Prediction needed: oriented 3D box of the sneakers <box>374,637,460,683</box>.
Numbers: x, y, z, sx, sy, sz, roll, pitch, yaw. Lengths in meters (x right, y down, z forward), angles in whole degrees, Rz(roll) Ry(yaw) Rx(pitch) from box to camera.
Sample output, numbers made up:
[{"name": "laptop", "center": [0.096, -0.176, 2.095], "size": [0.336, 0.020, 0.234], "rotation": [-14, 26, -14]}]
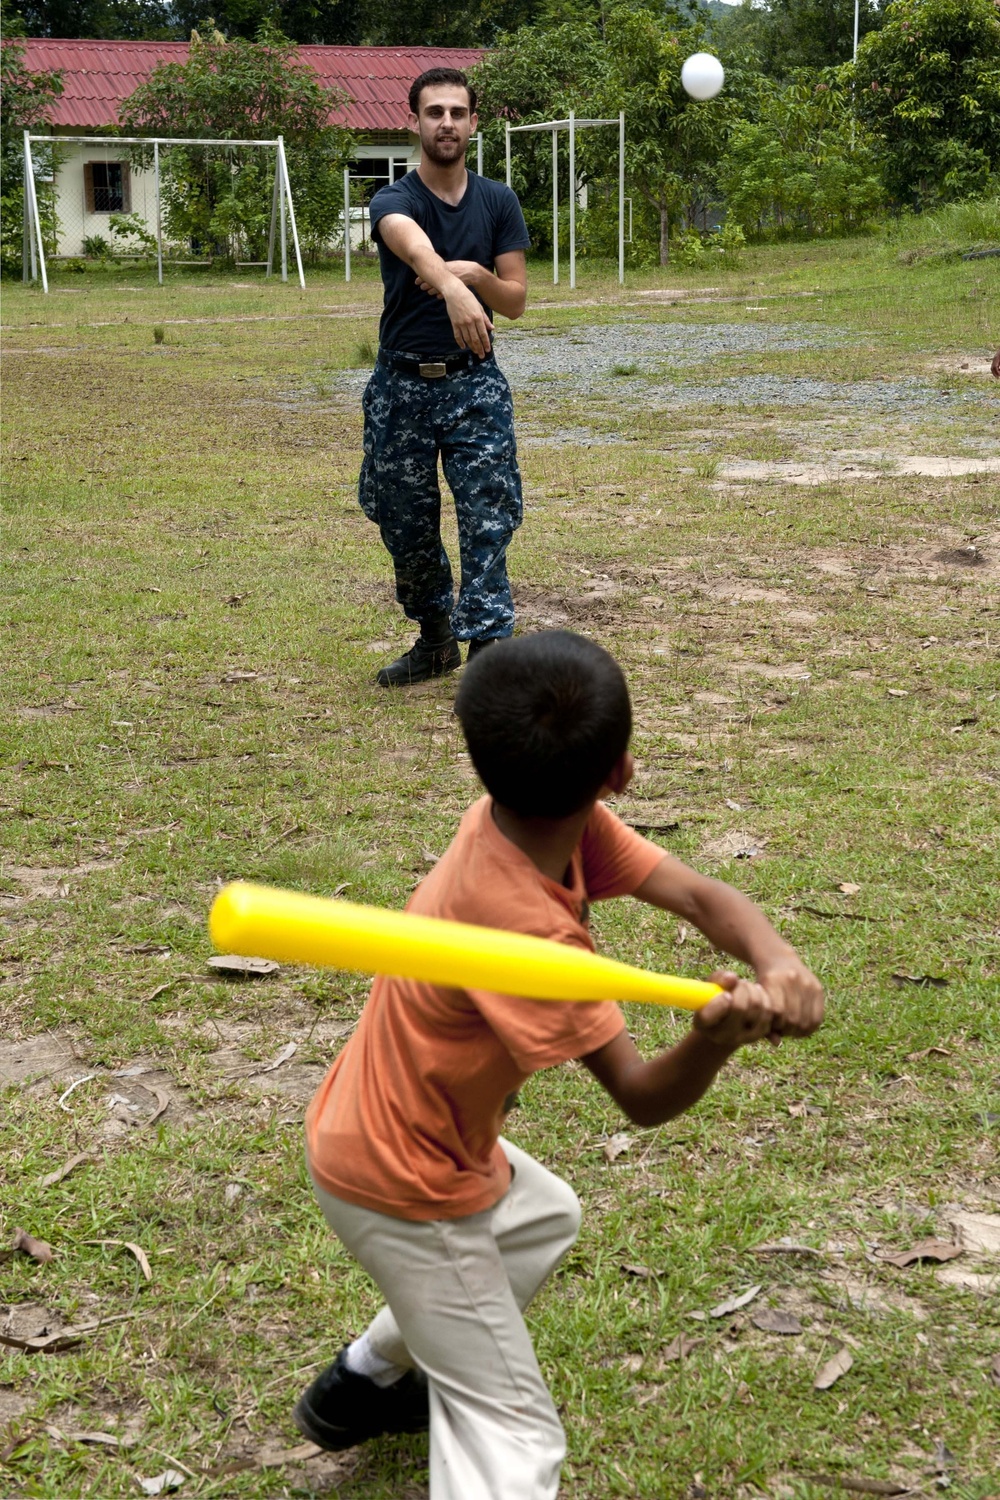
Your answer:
[{"name": "sneakers", "center": [-0.256, -0.289, 5.093], "size": [0.334, 0.178, 0.115], "rotation": [-4, 3, -31]}]

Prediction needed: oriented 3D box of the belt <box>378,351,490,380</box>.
[{"name": "belt", "center": [-0.217, -1.183, 4.701], "size": [0.329, 0.095, 0.119], "rotation": [2, 11, 25]}]

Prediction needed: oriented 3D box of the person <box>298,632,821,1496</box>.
[{"name": "person", "center": [0.035, 0.365, 1.584], "size": [0.548, 0.973, 0.394], "rotation": [-5, 11, -9]}]

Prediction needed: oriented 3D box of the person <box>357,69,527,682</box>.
[{"name": "person", "center": [-0.124, -1.112, 4.730], "size": [0.541, 1.858, 0.722], "rotation": [-7, 11, -19]}]
